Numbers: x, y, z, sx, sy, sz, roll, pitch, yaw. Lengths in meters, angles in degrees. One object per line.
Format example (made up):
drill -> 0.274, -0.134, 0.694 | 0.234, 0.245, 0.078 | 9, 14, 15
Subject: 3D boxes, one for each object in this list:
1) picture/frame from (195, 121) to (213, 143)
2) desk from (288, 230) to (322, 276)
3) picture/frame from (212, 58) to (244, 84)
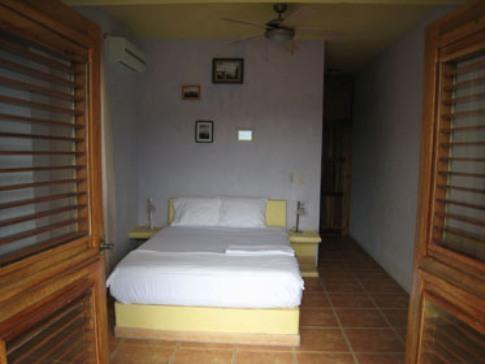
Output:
picture/frame -> -0.501, -0.673, 4.653 | 0.258, 0.305, 0.021 | 1, 4, -2
desk -> 0.807, 0.867, 4.560 | 0.559, 0.558, 0.462 | 0, 2, 2
picture/frame -> -0.187, -1.427, 4.525 | 0.380, 0.316, 0.024 | 1, -3, 1
